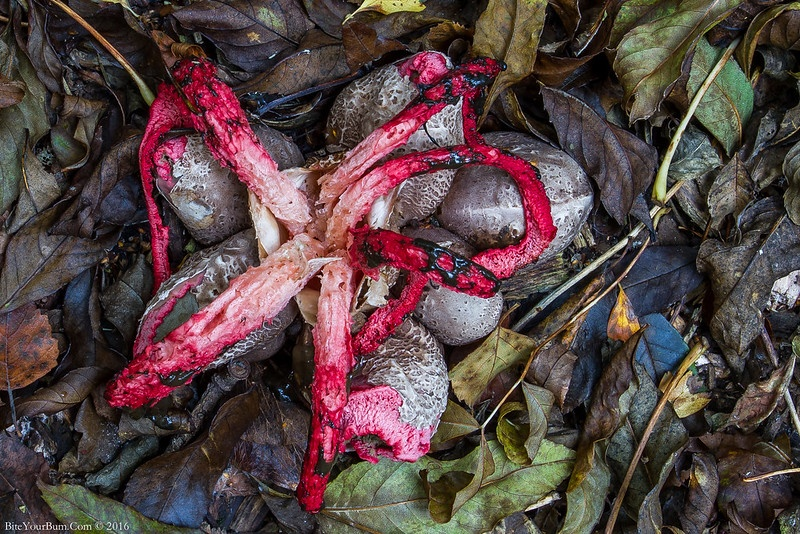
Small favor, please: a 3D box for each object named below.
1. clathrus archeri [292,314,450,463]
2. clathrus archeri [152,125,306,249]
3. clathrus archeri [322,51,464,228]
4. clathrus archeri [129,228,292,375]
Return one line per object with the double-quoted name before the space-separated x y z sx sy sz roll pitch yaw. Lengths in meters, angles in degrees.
"clathrus archeri" -0.046 0.281 2.014 0.332 0.173 0.428 6 55 2
"clathrus archeri" -0.420 -0.230 2.041 0.375 0.118 0.378 -20 59 -11
"clathrus archeri" 0.008 -0.285 2.009 0.367 0.405 0.112 23 18 36
"clathrus archeri" -0.493 0.087 1.999 0.152 0.330 0.447 -23 -20 36
